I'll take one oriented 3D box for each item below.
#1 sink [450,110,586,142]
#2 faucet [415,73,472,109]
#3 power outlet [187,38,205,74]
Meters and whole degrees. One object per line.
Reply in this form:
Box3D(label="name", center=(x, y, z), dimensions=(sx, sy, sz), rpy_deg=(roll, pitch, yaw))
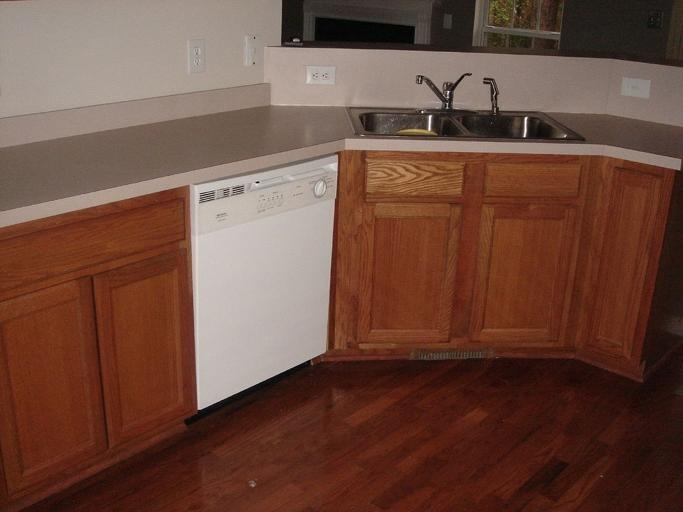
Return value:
Box3D(label="sink", center=(0.827, -0.617, 2.552), dimensions=(0.557, 0.118, 0.538), rpy_deg=(1, 20, 3))
Box3D(label="faucet", center=(0.499, -0.846, 2.732), dimensions=(0.078, 0.178, 0.356), rpy_deg=(10, 13, -37))
Box3D(label="power outlet", center=(-0.660, -0.905, 2.399), dimensions=(0.017, 0.145, 0.098), rpy_deg=(14, 26, 30))
